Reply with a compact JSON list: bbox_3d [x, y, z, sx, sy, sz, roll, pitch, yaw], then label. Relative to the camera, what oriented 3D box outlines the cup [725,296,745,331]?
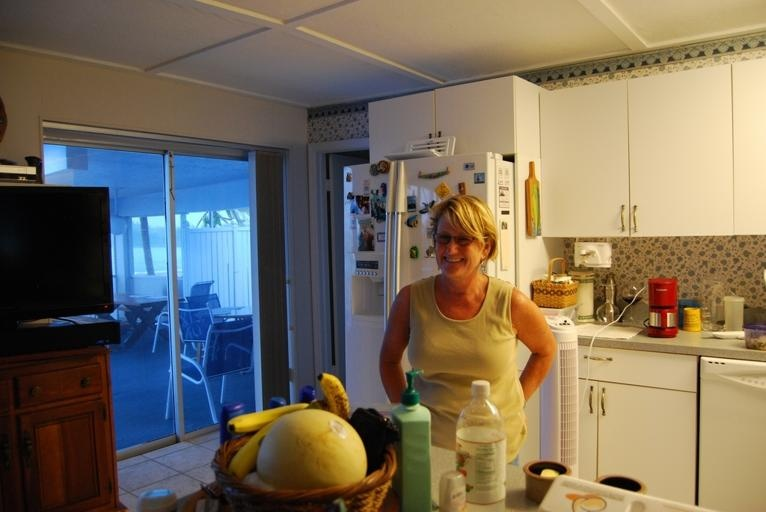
[{"bbox_3d":[2.419,0.399,3.895,0.113,0.226,0.145,0,4,28],"label":"cup"}]

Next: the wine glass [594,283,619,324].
[{"bbox_3d":[1.748,0.355,4.403,0.170,0.311,0.251,0,4,22],"label":"wine glass"}]

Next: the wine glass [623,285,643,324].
[{"bbox_3d":[1.928,0.379,4.415,0.118,0.310,0.130,18,-13,-4],"label":"wine glass"}]

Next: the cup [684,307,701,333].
[{"bbox_3d":[2.220,0.457,4.012,0.148,0.164,0.090,-2,4,1],"label":"cup"}]

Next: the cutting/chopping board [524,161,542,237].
[{"bbox_3d":[1.133,-0.423,4.291,0.134,0.570,0.061,-6,6,-42],"label":"cutting/chopping board"}]

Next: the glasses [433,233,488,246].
[{"bbox_3d":[0.326,-0.072,2.434,0.210,0.050,0.064,-1,4,10],"label":"glasses"}]

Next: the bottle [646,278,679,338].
[{"bbox_3d":[1.916,0.363,3.858,0.171,0.393,0.083,0,4,20],"label":"bottle"}]

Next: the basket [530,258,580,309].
[{"bbox_3d":[1.269,0.190,4.204,0.323,0.456,0.445,3,4,32],"label":"basket"}]

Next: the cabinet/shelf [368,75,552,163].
[{"bbox_3d":[0.542,-1.081,4.332,1.243,0.642,0.671,3,7,32],"label":"cabinet/shelf"}]

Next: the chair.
[{"bbox_3d":[-1.729,0.800,5.260,0.745,1.282,0.683,5,4,40],"label":"chair"}]

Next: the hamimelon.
[{"bbox_3d":[-0.228,0.642,1.810,0.267,0.215,0.260,11,-18,4],"label":"hamimelon"}]

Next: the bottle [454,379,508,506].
[{"bbox_3d":[0.348,0.673,2.034,0.118,0.438,0.176,6,5,24],"label":"bottle"}]

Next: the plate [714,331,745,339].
[{"bbox_3d":[2.316,0.534,3.789,0.132,0.025,0.075,-2,-2,36],"label":"plate"}]
